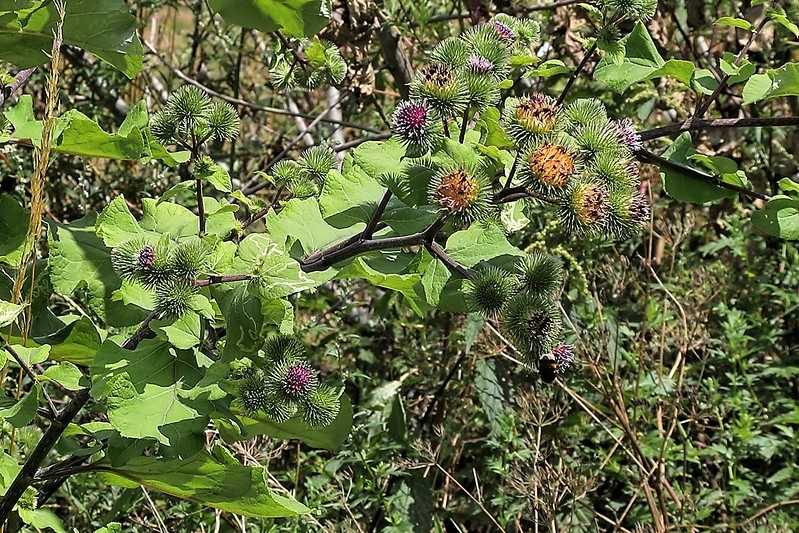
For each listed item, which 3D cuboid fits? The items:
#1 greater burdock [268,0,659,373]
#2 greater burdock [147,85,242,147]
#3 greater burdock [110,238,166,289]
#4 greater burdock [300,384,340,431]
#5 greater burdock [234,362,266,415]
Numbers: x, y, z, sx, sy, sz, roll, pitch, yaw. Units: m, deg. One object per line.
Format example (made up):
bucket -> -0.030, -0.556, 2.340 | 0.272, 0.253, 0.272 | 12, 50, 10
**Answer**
greater burdock -> 0.227, -0.200, 1.829 | 0.848, 0.849, 0.437 | -5, 0, 10
greater burdock -> -0.535, -0.385, 1.978 | 0.169, 0.153, 0.172 | 26, 49, 27
greater burdock -> -0.590, -0.006, 1.723 | 0.118, 0.103, 0.097 | -5, 0, 41
greater burdock -> -0.202, 0.347, 1.895 | 0.105, 0.062, 0.099 | -50, 5, -6
greater burdock -> -0.360, 0.299, 1.837 | 0.084, 0.111, 0.037 | -5, -1, 30
